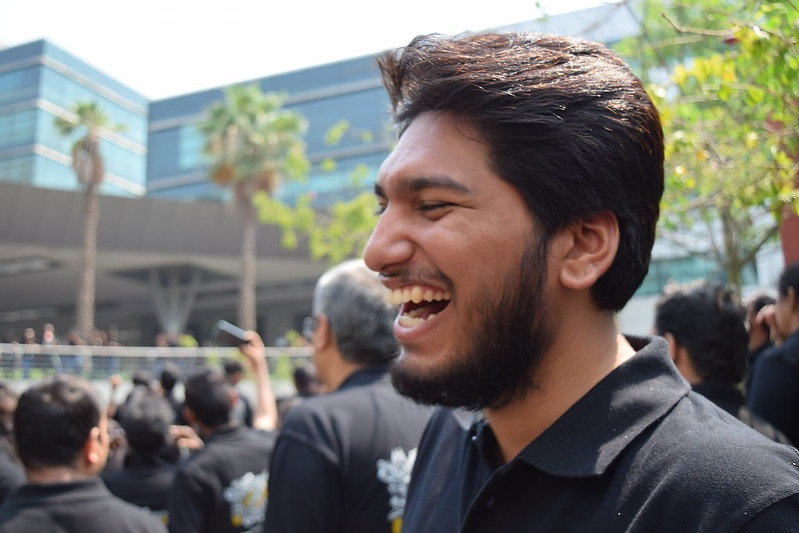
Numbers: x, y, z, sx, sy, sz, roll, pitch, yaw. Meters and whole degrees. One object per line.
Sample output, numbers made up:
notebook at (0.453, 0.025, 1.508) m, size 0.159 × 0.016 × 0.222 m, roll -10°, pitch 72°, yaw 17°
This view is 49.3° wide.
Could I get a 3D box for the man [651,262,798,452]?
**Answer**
man at (1.990, 0.560, 5.433) m, size 1.010 × 1.041 × 0.847 m, roll 0°, pitch -7°, yaw -37°
